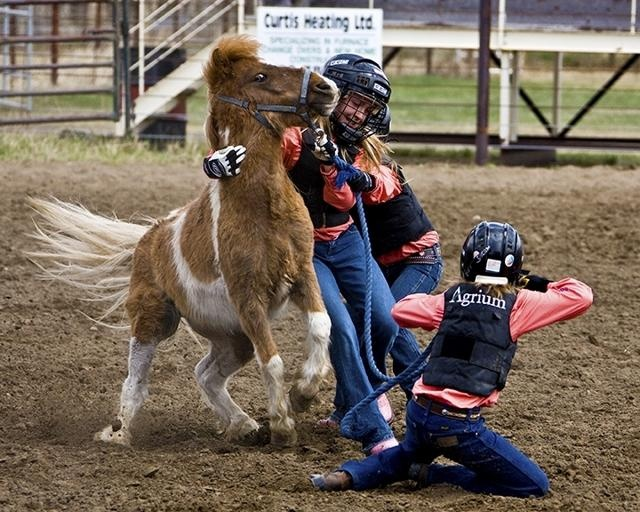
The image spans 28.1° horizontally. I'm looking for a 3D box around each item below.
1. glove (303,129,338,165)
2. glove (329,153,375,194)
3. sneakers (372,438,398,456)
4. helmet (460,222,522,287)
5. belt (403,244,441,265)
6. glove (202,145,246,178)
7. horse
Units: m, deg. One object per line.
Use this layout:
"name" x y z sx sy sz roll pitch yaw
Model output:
"glove" -0.009 -0.887 10.112 0.124 0.317 0.225 -40 1 -7
"glove" 0.236 -0.749 10.212 0.400 0.188 0.250 -3 -13 8
"sneakers" 0.505 1.499 10.162 0.163 0.073 0.128 -33 -3 -2
"helmet" 1.339 -0.068 9.929 0.352 0.527 0.494 8 16 10
"belt" 0.884 -0.008 10.899 0.213 0.116 0.181 -14 -5 -6
"glove" -0.744 -0.733 9.980 0.323 0.270 0.163 1 8 -6
"horse" -1.165 0.070 10.877 1.163 3.334 3.976 -2 -5 -41
